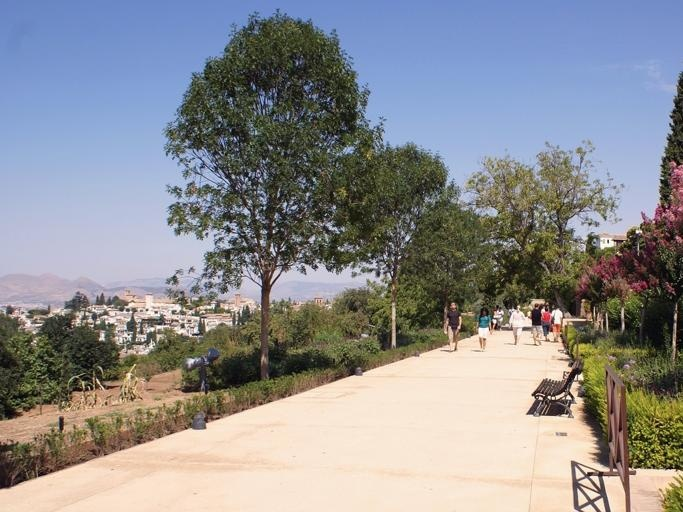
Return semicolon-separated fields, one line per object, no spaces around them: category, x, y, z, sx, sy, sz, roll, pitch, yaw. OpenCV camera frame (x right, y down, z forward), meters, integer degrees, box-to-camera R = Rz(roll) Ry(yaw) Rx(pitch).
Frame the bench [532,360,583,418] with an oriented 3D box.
bench;4.802;2.698;13.845;0.921;0.947;1.770;-3;-7;14
